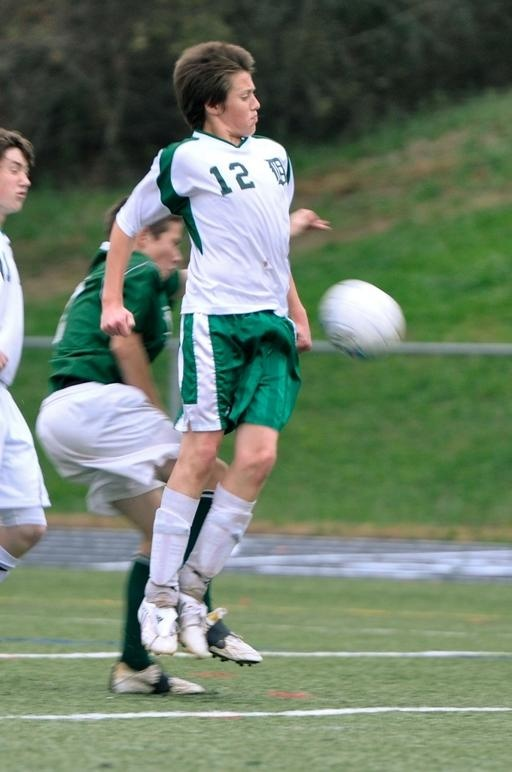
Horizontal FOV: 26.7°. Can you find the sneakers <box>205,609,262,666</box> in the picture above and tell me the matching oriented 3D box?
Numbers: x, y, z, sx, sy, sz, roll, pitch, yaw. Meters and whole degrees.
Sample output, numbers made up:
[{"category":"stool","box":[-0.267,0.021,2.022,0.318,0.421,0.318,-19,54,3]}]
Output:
[{"category":"sneakers","box":[-0.066,0.650,2.777,0.122,0.175,0.202,-7,5,-7]}]

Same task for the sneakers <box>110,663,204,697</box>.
[{"category":"sneakers","box":[-0.278,0.764,2.837,0.296,0.079,0.085,0,-3,-8]}]

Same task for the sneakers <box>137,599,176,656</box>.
[{"category":"sneakers","box":[-0.241,0.594,2.671,0.074,0.063,0.158,-2,25,-23]}]

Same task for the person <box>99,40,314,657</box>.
[{"category":"person","box":[-0.088,-0.006,2.810,0.655,1.340,0.380,-9,6,-16]}]

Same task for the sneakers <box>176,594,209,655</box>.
[{"category":"sneakers","box":[-0.177,0.601,2.729,0.097,0.135,0.064,-2,-21,-28]}]
